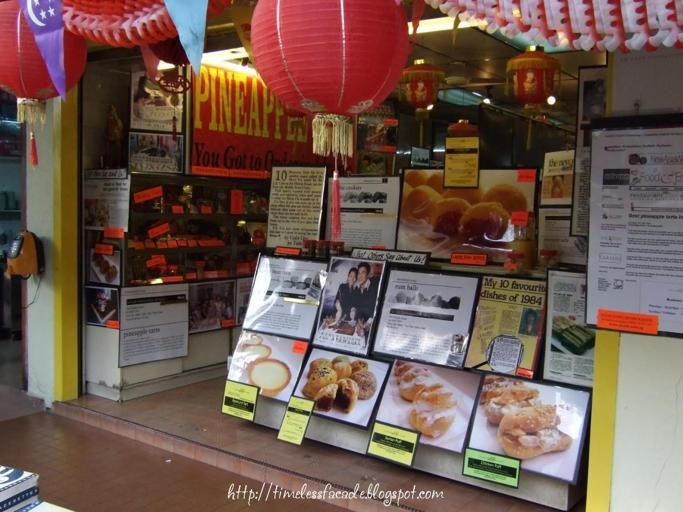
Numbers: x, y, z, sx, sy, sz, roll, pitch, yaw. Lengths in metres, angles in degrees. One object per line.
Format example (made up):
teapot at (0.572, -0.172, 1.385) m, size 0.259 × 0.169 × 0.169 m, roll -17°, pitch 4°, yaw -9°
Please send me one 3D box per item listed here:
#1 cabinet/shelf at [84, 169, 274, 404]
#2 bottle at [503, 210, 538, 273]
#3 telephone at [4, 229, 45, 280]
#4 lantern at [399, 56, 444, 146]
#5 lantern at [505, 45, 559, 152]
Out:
cabinet/shelf at (-1.821, 0.236, 5.482) m, size 0.842 × 2.469 × 1.929 m, roll 4°, pitch 9°, yaw 35°
bottle at (1.323, -0.096, 3.639) m, size 0.240 × 0.455 × 0.227 m, roll 0°, pitch 10°, yaw 0°
telephone at (-3.131, -0.018, 5.071) m, size 0.423 × 0.736 × 0.475 m, roll 3°, pitch 0°, yaw -38°
lantern at (0.908, -1.721, 5.177) m, size 0.475 × 1.242 × 0.556 m, roll -1°, pitch 9°, yaw -2°
lantern at (1.865, -1.736, 4.932) m, size 0.499 × 0.647 × 1.612 m, roll -1°, pitch 9°, yaw 22°
